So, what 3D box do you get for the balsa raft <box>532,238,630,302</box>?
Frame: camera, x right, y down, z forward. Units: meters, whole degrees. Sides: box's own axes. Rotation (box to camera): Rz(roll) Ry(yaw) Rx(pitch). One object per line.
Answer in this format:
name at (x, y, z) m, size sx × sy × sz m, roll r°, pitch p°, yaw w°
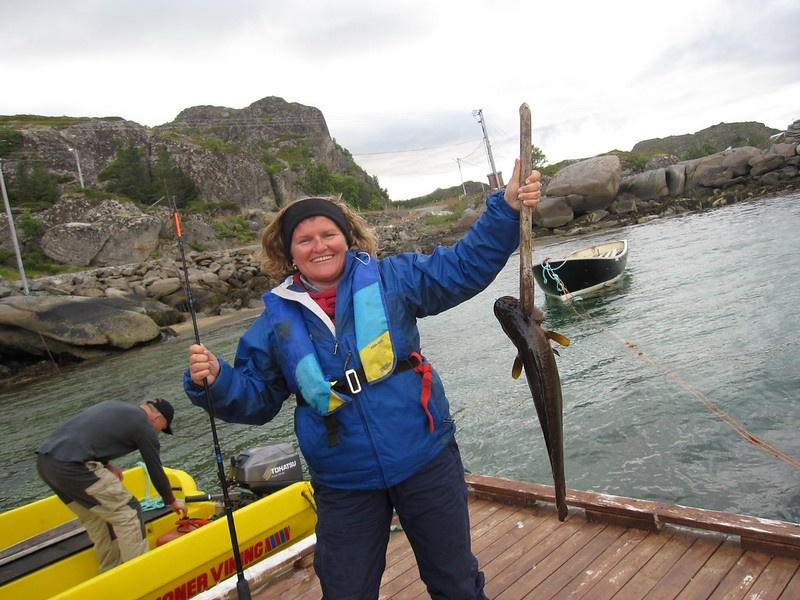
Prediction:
balsa raft at (7.076, -1.165, 18.610) m, size 3.189 × 1.982 × 6.144 m, roll 2°, pitch 14°, yaw 38°
